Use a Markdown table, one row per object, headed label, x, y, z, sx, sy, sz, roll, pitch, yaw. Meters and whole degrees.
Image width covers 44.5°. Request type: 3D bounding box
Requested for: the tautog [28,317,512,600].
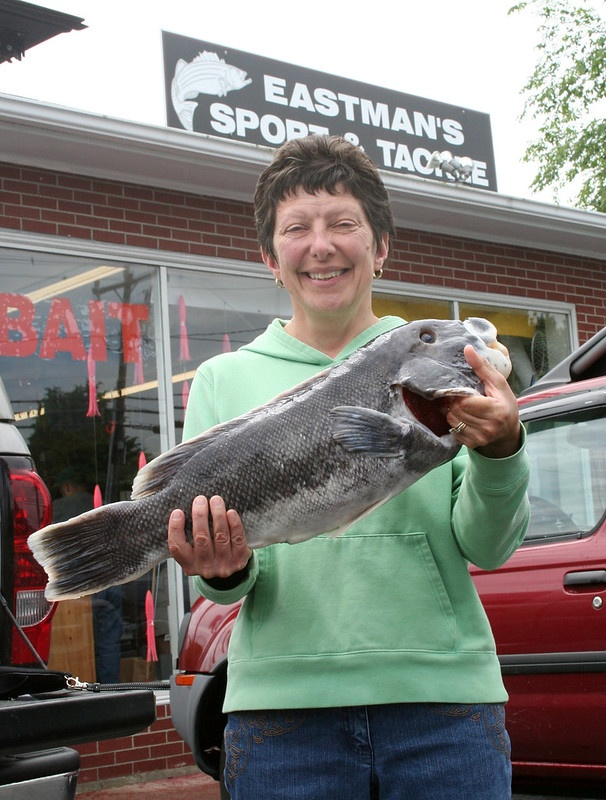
| label | x | y | z | sx | sy | sz | roll | pitch | yaw |
| --- | --- | --- | --- | --- | --- | --- | --- | --- | --- |
| tautog | -0.039 | 0.088 | 1.302 | 0.814 | 0.445 | 0.243 | -5 | -5 | 6 |
